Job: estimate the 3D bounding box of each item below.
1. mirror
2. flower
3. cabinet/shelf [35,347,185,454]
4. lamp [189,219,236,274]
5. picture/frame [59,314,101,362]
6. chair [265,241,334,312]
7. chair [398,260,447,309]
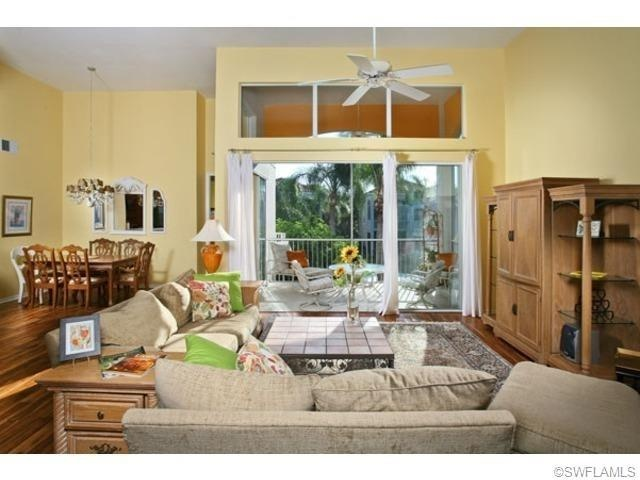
[{"bbox_3d":[-3.266,-0.604,8.287,0.992,0.812,0.043,1,7,6],"label":"mirror"},{"bbox_3d":[0.371,0.416,4.963,0.262,0.714,0.392,-7,10,-21],"label":"flower"},{"bbox_3d":[-1.465,1.281,3.442,0.821,0.801,0.554,4,12,-2],"label":"cabinet/shelf"},{"bbox_3d":[-1.426,0.146,6.406,0.570,0.778,0.568,-1,1,19],"label":"lamp"},{"bbox_3d":[-1.668,0.697,3.347,0.344,0.406,0.034,-1,-2,-38],"label":"picture/frame"},{"bbox_3d":[-0.312,0.519,6.925,1.106,1.084,0.710,2,-1,6],"label":"chair"},{"bbox_3d":[1.482,0.635,7.039,0.689,0.682,0.513,-1,5,22],"label":"chair"}]
